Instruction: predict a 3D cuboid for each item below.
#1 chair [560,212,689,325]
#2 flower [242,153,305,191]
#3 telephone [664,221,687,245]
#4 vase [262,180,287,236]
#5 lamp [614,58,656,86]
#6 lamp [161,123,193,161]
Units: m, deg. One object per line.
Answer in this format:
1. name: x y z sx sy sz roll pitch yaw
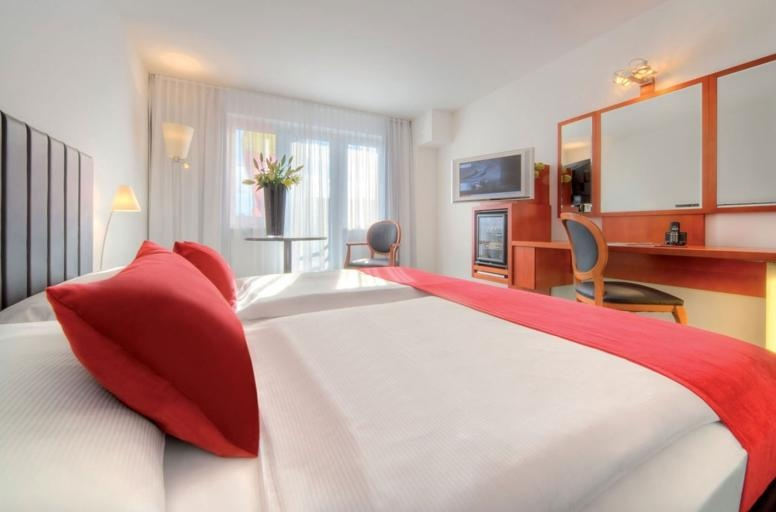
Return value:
1. chair: 1.650 0.169 3.184 0.699 1.029 0.659 -6 6 -6
2. flower: -1.054 -0.789 4.414 0.438 0.333 0.555 10 -5 -2
3. telephone: 2.109 -0.169 3.285 0.106 0.229 0.156 7 -7 -16
4. vase: -1.073 -0.444 4.359 0.282 0.502 0.289 1 -2 -44
5. lamp: 1.993 -1.476 3.617 0.293 0.226 0.217 8 11 30
6. lamp: -1.782 -0.950 3.794 0.251 0.279 0.241 2 5 -41
